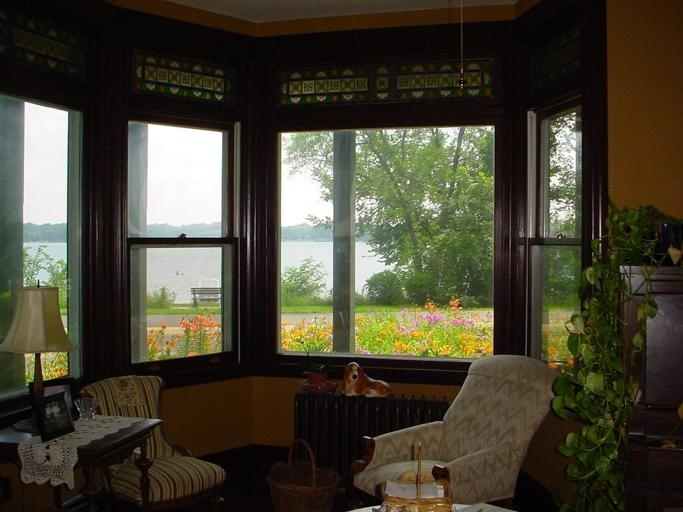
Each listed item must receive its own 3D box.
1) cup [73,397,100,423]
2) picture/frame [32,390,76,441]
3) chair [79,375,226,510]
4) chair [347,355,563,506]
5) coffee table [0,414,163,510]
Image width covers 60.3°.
[{"bbox_3d":[-1.541,0.927,3.581,0.139,0.115,0.132,1,-7,0],"label":"cup"},{"bbox_3d":[-1.620,0.898,3.282,0.023,0.241,0.228,-15,-8,22],"label":"picture/frame"},{"bbox_3d":[-1.138,1.163,4.037,0.909,1.078,0.734,-9,-10,44],"label":"chair"},{"bbox_3d":[0.632,1.057,3.794,1.099,1.148,0.846,6,-6,-26],"label":"chair"},{"bbox_3d":[-1.495,1.087,3.386,0.583,0.626,0.616,-2,-4,21],"label":"coffee table"}]
